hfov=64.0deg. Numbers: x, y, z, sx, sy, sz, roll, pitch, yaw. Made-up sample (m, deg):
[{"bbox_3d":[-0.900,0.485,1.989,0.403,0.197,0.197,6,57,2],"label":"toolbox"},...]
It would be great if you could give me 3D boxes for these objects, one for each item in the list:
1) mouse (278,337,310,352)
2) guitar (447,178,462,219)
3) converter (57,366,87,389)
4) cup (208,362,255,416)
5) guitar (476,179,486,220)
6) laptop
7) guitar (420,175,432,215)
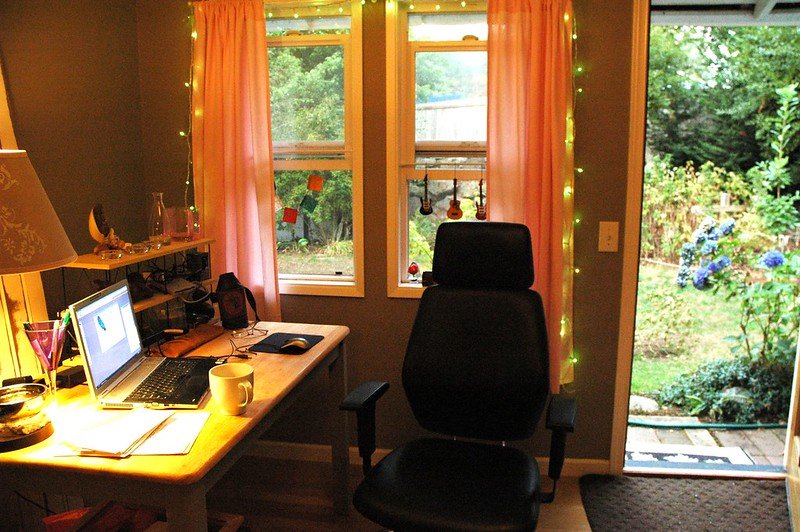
[{"bbox_3d":[-0.535,0.405,3.319,0.124,0.040,0.065,1,5,7],"label":"mouse"},{"bbox_3d":[0.332,-0.408,3.893,0.091,0.236,0.145,0,15,7],"label":"guitar"},{"bbox_3d":[-1.541,0.519,3.020,0.084,0.053,0.117,5,13,23],"label":"converter"},{"bbox_3d":[-0.711,0.568,2.821,0.201,0.167,0.285,-2,1,-35],"label":"cup"},{"bbox_3d":[0.494,-0.404,3.888,0.061,0.240,0.131,0,15,7],"label":"guitar"},{"bbox_3d":[-1.128,0.350,3.009,0.571,0.434,0.615,5,10,0],"label":"laptop"},{"bbox_3d":[0.161,-0.437,3.937,0.077,0.262,0.073,1,16,13],"label":"guitar"}]
